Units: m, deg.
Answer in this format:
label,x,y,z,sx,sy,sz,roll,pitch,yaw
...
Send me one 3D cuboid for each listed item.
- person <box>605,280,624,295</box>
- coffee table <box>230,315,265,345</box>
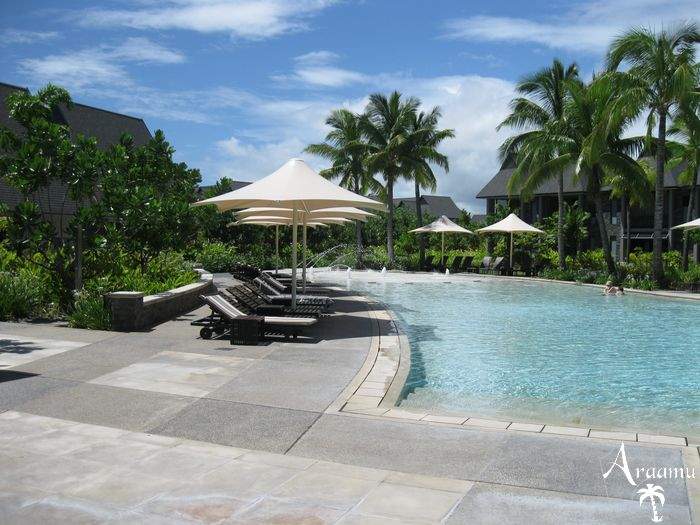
label,x,y,z,sx,sy,sz,roll,pitch,yaw
person,10.485,0.997,21.937,0.692,0.518,1.108,-1,0,26
coffee table,-1.998,1.252,10.689,0.503,0.560,0.579,0,0,0
